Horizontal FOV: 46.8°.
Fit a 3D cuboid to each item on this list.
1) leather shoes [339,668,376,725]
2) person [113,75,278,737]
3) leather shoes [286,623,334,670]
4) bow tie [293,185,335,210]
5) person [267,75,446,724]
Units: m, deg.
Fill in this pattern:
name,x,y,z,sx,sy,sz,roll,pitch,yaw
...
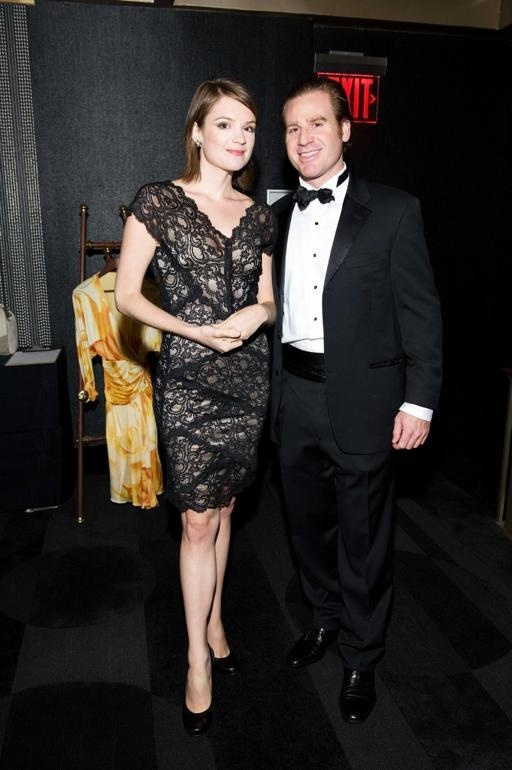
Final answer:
name,x,y,z,sx,sy,sz,roll,pitch,yaw
leather shoes,0.293,0.902,1.711,0.057,0.066,0.162,0,5,9
person,-0.136,0.056,1.712,0.371,1.732,0.485,3,10,16
leather shoes,0.175,0.863,1.946,0.069,0.072,0.178,9,8,34
bow tie,0.157,-0.516,1.650,0.126,0.061,0.055,5,12,32
person,0.253,0.042,1.752,0.338,1.779,0.527,-3,10,-18
